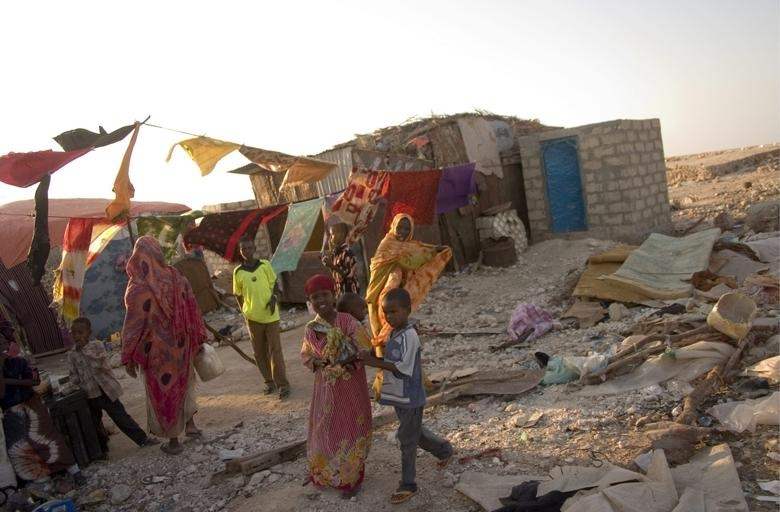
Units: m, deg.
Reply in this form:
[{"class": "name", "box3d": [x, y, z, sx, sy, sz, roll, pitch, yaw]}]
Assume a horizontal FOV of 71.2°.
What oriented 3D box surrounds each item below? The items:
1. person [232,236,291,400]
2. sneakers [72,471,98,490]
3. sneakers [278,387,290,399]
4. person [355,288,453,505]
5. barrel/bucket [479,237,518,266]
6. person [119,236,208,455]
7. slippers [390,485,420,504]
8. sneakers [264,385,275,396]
[{"class": "person", "box3d": [-1.709, 0.808, 7.160, 0.579, 1.785, 0.494, -6, 2, -15]}, {"class": "sneakers", "box3d": [-3.173, 2.300, 5.668, 0.170, 0.072, 0.211, 5, 13, -29]}, {"class": "sneakers", "box3d": [-1.380, 1.766, 7.107, 0.124, 0.130, 0.050, 6, -27, -11]}, {"class": "person", "box3d": [0.144, 1.187, 4.842, 0.706, 1.354, 0.378, -5, 2, 3]}, {"class": "barrel/bucket", "box3d": [2.640, -0.121, 12.993, 0.857, 0.684, 0.776, -4, 2, 33]}, {"class": "person", "box3d": [-2.504, 0.958, 6.051, 0.861, 2.283, 0.218, -6, 3, -18]}, {"class": "slippers", "box3d": [0.130, 2.042, 4.756, 0.248, 0.088, 0.115, -3, 5, -29]}, {"class": "sneakers", "box3d": [-1.631, 1.774, 7.348, 0.095, 0.103, 0.167, 0, -5, 1]}]
